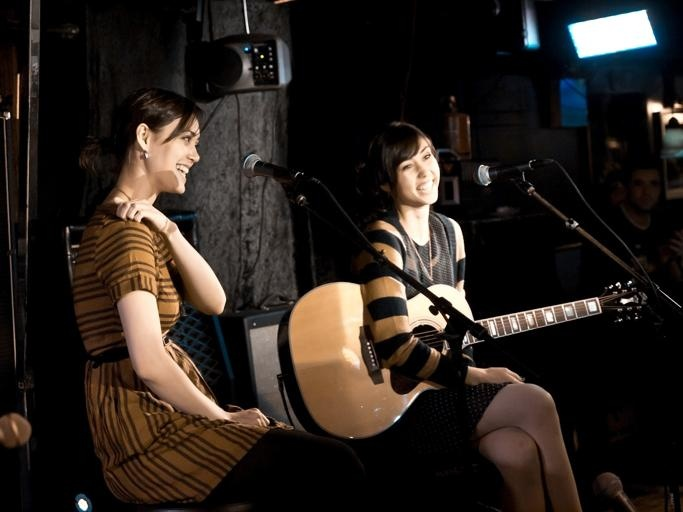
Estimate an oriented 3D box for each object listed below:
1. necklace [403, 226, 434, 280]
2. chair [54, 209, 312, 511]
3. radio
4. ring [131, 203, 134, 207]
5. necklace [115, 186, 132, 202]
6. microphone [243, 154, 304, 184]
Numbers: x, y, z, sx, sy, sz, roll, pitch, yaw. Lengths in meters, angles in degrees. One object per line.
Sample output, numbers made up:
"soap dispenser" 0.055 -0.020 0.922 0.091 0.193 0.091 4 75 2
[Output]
"necklace" 0.338 -0.007 2.953 0.033 0.239 0.093 -27 4 43
"chair" -0.600 0.349 2.576 0.819 1.117 0.855 -1 -5 -18
"radio" -0.460 -0.935 3.268 0.385 0.284 0.295 -4 10 5
"ring" -0.680 -0.169 2.174 0.011 0.011 0.002 7 -12 -39
"necklace" -0.746 -0.212 2.285 0.014 0.063 0.061 -21 -17 35
"microphone" -0.277 -0.321 2.503 0.279 0.102 0.100 24 17 35
